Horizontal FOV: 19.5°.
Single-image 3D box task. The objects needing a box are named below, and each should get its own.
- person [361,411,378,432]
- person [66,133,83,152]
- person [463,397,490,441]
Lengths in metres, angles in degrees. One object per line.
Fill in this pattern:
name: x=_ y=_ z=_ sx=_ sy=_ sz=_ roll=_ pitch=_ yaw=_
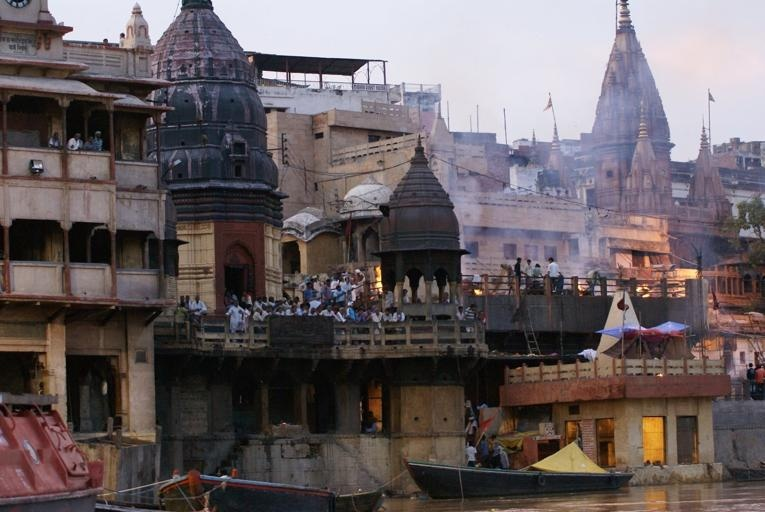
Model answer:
person: x=-0.597 y=6.536 z=86.976 sx=0.588 sy=0.737 sz=0.716 roll=2 pitch=-13 yaw=-3
person: x=-11.107 y=-3.982 z=78.251 sx=0.549 sy=0.860 sz=1.567 roll=0 pitch=-7 yaw=-8
person: x=3.653 y=6.547 z=88.345 sx=0.918 sy=0.639 sz=1.815 roll=2 pitch=12 yaw=0
